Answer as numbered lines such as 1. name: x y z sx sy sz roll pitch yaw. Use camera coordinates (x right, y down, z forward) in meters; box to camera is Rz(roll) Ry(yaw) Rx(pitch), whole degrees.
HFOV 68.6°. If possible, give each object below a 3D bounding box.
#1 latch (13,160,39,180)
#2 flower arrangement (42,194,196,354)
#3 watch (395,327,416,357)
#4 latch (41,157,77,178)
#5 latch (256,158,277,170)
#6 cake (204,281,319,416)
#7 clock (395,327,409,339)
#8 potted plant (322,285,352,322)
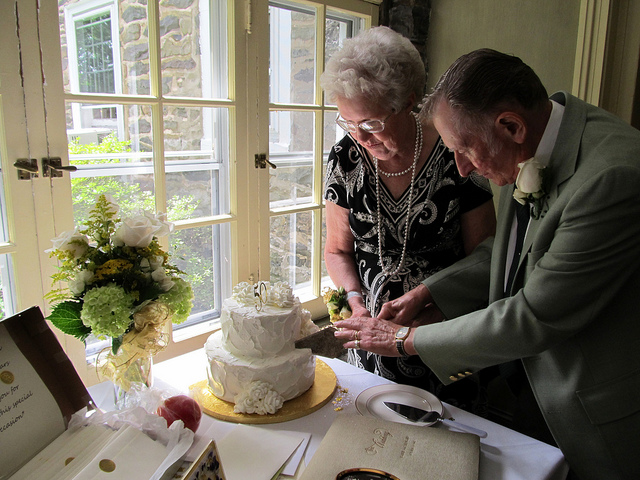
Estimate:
1. latch: -1.244 -0.299 1.987 0.089 0.085 0.049 -12 16 -33
2. flower arrangement: -0.635 0.102 1.460 0.393 0.481 0.277 1 14 14
3. watch: 0.268 0.324 1.532 0.049 0.080 0.084 0 14 12
4. latch: -1.154 -0.322 2.089 0.091 0.123 0.121 13 15 31
5. latch: -0.337 -0.466 2.862 0.163 0.052 0.032 25 39 31
6. cake: -0.214 0.349 1.721 0.376 0.360 0.413 9 14 35
7. clock: 0.262 0.298 1.516 0.025 0.042 0.042 14 32 21
8. potted plant: 0.073 0.264 1.924 0.132 0.085 0.146 33 -30 -34
